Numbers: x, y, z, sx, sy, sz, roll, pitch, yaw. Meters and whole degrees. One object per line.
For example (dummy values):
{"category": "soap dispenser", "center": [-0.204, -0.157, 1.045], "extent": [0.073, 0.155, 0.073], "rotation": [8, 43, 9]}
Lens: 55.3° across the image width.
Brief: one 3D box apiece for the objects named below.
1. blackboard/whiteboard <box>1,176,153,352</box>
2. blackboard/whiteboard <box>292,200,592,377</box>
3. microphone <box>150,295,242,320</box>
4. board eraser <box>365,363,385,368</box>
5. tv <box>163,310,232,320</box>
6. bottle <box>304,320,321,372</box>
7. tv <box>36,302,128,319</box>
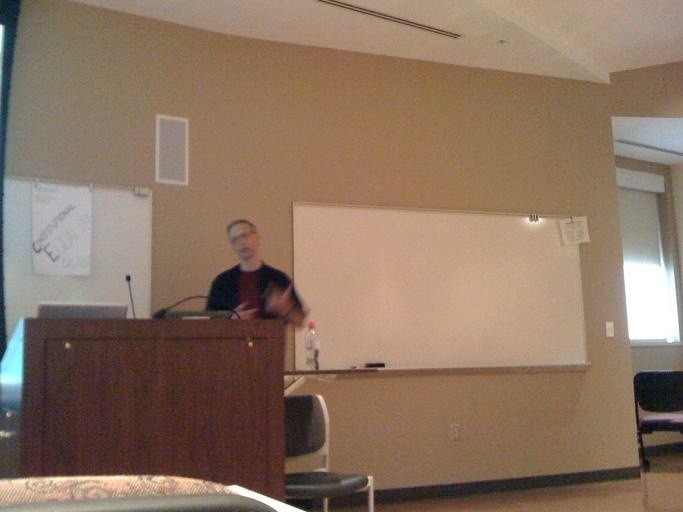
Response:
{"category": "blackboard/whiteboard", "center": [-1.584, 0.019, 3.764], "extent": [0.974, 1.246, 0.052], "rotation": [1, -5, -25]}
{"category": "blackboard/whiteboard", "center": [0.860, 0.245, 5.247], "extent": [2.591, 1.300, 0.090], "rotation": [3, -7, -19]}
{"category": "microphone", "center": [-0.883, 0.290, 3.801], "extent": [0.355, 0.098, 0.208], "rotation": [-2, -5, 22]}
{"category": "board eraser", "center": [0.253, 0.816, 4.927], "extent": [0.167, 0.038, 0.103], "rotation": [1, -7, -2]}
{"category": "tv", "center": [-0.628, 0.246, 2.809], "extent": [0.240, 0.032, 0.213], "rotation": [-3, -7, 23]}
{"category": "bottle", "center": [-0.216, 0.639, 4.783], "extent": [0.118, 0.348, 0.152], "rotation": [1, -7, -9]}
{"category": "tv", "center": [-1.139, 0.231, 2.833], "extent": [0.413, 0.063, 0.120], "rotation": [-2, -7, 16]}
